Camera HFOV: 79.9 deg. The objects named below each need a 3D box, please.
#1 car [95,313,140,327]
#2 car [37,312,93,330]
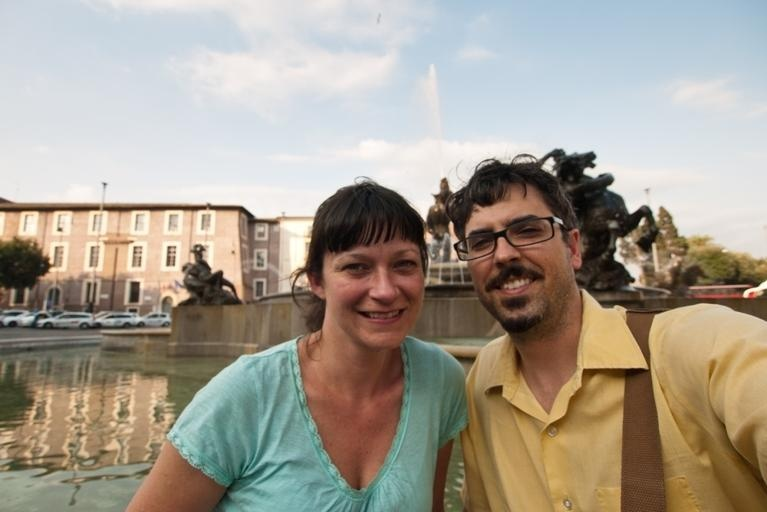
[{"bbox_3d":[-21.036,5.135,36.061,2.396,0.835,1.282,5,-9,-26],"label":"car"},{"bbox_3d":[-23.021,4.771,33.304,2.646,0.864,1.257,10,-10,-33],"label":"car"}]
